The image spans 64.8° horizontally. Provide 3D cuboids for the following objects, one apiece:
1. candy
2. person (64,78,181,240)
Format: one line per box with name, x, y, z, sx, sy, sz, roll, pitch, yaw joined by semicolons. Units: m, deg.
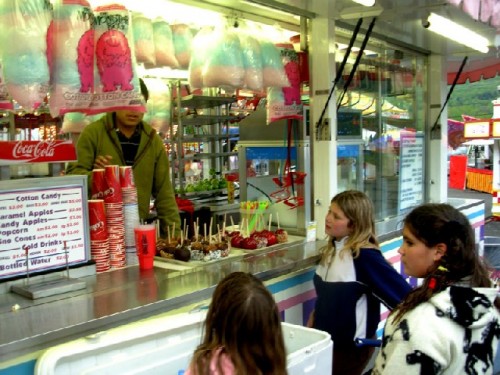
candy;-0.205;0.334;2.766;0.436;0.179;0.923;-1;3;39
person;-1.042;-0.203;3.172;0.807;1.216;0.664;-8;15;-40
